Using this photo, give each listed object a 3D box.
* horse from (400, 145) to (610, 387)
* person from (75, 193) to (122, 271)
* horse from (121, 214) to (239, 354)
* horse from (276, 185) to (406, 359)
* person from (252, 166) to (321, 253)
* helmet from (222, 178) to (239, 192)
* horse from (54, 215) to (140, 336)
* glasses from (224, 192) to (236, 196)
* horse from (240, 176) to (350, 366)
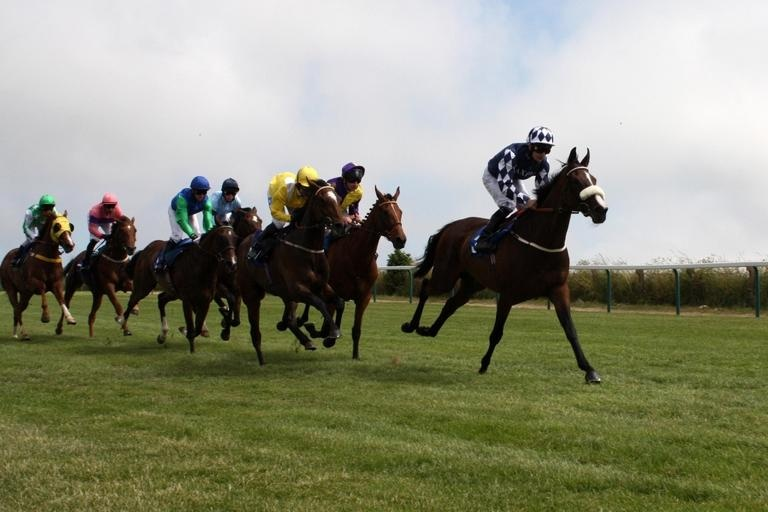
[{"bbox_3d":[1.339,0.086,8.833,0.813,2.516,2.531,-7,13,-31],"label":"horse"},{"bbox_3d":[-4.594,-0.430,13.037,1.437,1.051,0.582,-8,-6,38],"label":"person"},{"bbox_3d":[-2.717,0.433,10.696,0.758,1.804,3.003,7,-3,-40],"label":"horse"},{"bbox_3d":[-0.615,0.319,9.913,0.635,2.023,2.780,12,-11,-32],"label":"horse"},{"bbox_3d":[-1.112,-0.517,9.271,0.496,0.935,1.217,3,7,-25],"label":"person"},{"bbox_3d":[-2.082,-0.951,10.911,0.184,0.206,0.304,-3,11,-10],"label":"helmet"},{"bbox_3d":[-4.515,0.390,12.777,0.798,1.829,3.098,5,-9,-40],"label":"horse"},{"bbox_3d":[-2.100,-0.862,11.068,0.140,0.049,0.166,-5,12,-20],"label":"glasses"},{"bbox_3d":[-1.038,0.197,9.003,0.620,2.111,1.548,-10,14,-40],"label":"horse"}]
